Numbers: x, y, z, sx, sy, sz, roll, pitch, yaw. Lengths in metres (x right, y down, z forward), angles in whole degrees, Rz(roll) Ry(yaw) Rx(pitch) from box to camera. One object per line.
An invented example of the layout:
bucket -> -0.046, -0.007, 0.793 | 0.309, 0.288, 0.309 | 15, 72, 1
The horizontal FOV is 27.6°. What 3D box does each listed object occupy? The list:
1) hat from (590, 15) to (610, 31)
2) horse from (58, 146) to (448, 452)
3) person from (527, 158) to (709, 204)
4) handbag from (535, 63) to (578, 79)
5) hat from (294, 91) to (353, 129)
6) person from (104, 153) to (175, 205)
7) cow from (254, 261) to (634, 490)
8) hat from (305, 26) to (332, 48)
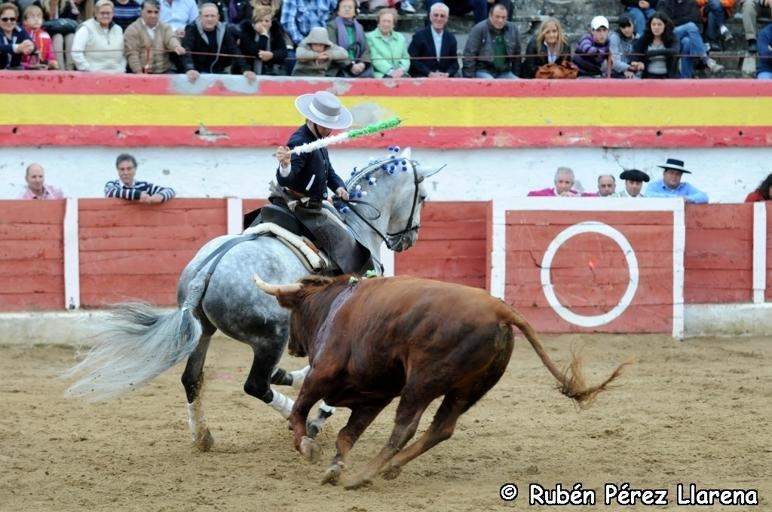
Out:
hat -> 2.720, -2.921, 19.901 | 0.232, 0.170, 0.330 | 0, 6, 1
horse -> -1.269, 0.639, 16.169 | 1.189, 2.986, 4.758 | 16, 21, 41
person -> 2.987, -0.941, 19.323 | 2.090, 0.503, 1.130 | 0, 10, -4
handbag -> 2.148, -2.299, 19.698 | 0.334, 0.111, 0.245 | 3, 3, -21
hat -> -0.710, -1.424, 15.820 | 0.444, 0.131, 0.458 | 42, 41, 23
person -> -2.905, -0.883, 18.568 | 0.842, 0.473, 0.534 | 12, 12, 27
cow -> 0.127, 1.154, 14.736 | 2.677, 1.899, 0.751 | 2, 11, 10
hat -> -0.819, -2.665, 19.284 | 0.322, 0.188, 0.391 | 0, 3, -6
